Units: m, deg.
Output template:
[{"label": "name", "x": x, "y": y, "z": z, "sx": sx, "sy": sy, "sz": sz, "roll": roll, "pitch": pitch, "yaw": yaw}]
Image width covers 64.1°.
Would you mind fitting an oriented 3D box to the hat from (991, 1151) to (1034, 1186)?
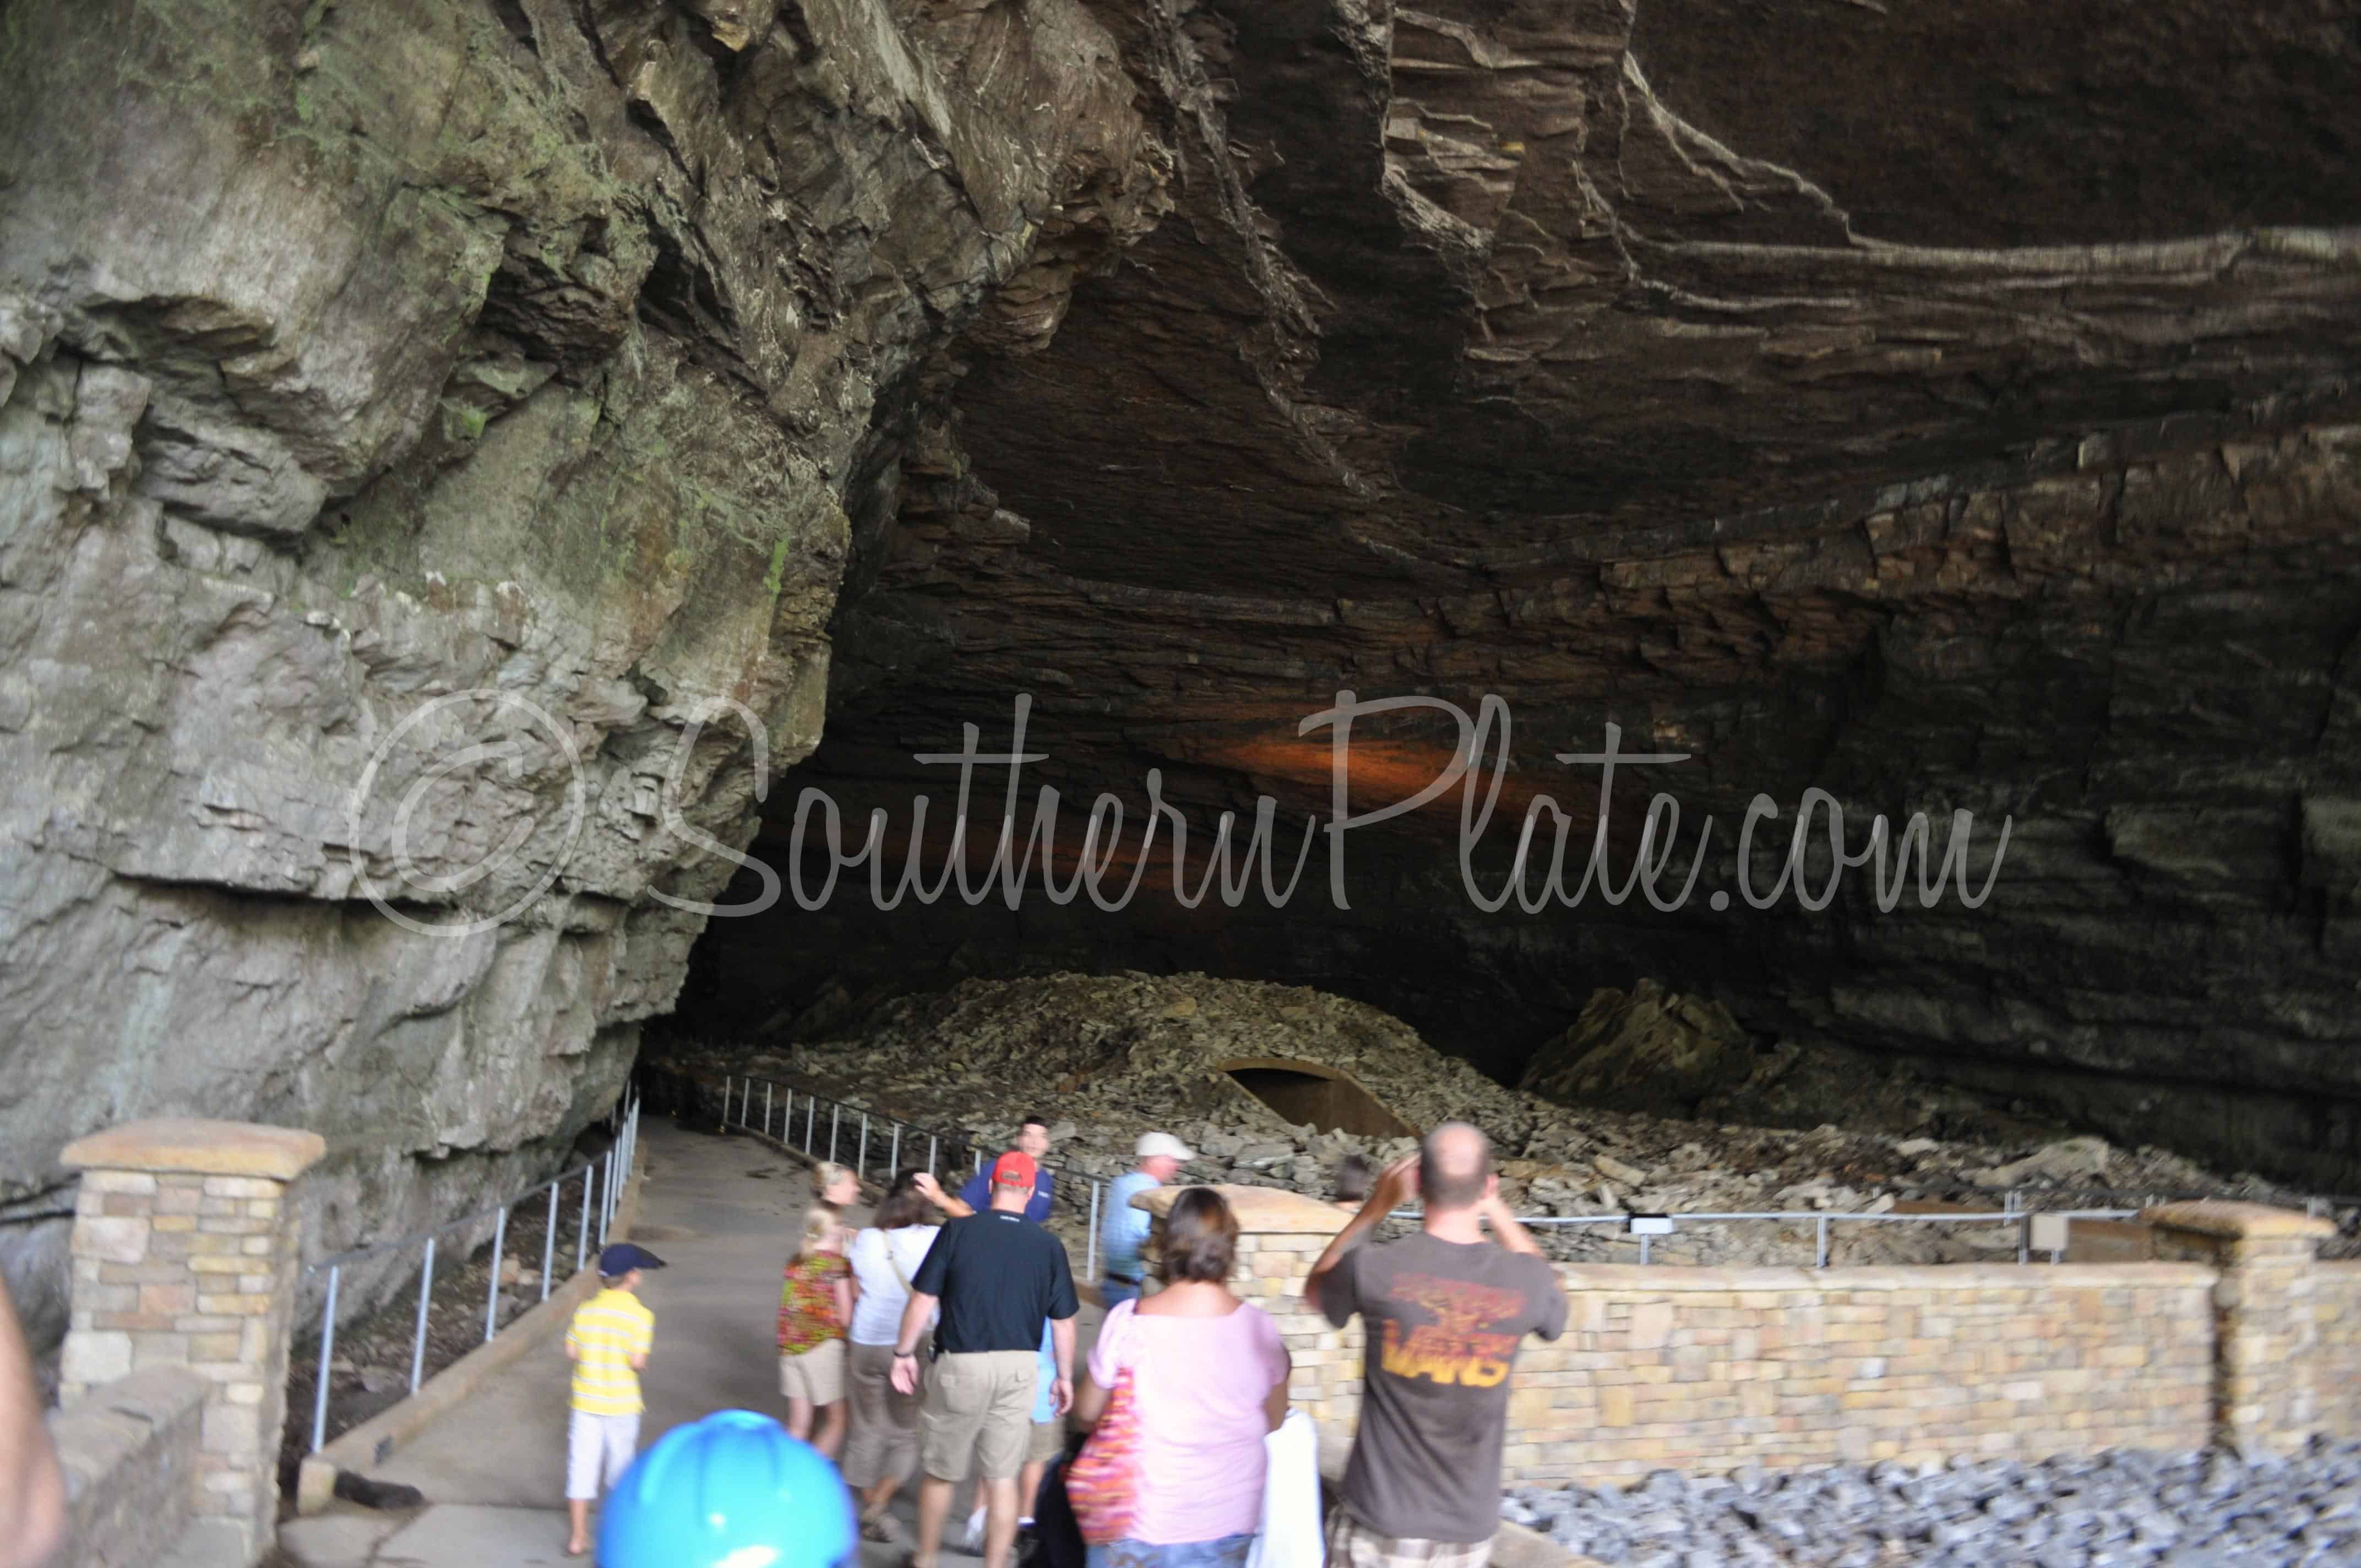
[{"label": "hat", "x": -0.946, "y": 2.154, "z": 10.640, "sx": 0.232, "sy": 0.193, "sz": 0.355, "roll": 7, "pitch": -13, "yaw": -3}]
